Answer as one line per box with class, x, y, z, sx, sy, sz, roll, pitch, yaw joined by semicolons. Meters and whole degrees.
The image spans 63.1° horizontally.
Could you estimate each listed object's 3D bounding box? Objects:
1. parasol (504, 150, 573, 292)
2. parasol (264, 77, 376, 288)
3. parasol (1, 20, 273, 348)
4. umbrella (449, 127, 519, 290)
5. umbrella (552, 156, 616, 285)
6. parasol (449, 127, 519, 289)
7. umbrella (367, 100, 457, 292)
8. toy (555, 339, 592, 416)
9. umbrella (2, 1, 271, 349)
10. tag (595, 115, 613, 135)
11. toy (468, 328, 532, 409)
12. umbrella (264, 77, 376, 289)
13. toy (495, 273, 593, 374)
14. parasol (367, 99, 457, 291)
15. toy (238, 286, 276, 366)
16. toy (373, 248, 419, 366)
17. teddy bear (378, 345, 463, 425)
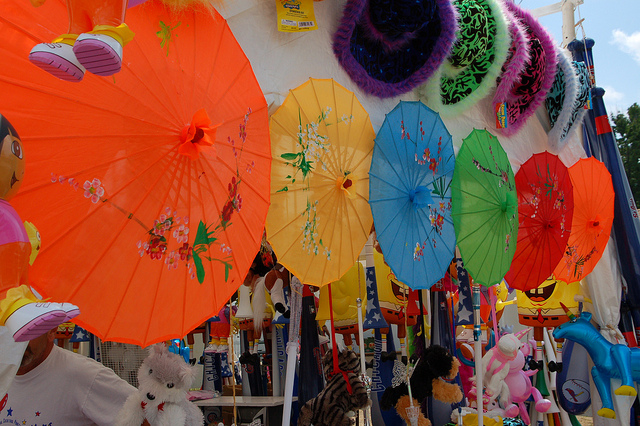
parasol;1.715;0.058;4.045;1.016;1.112;0.332;-7;13;-34
parasol;-0.002;-0.208;2.810;0.377;0.841;0.841;4;-49;37
parasol;-0.740;-0.145;2.423;0.922;1.378;0.851;3;-19;-12
umbrella;1.039;-0.010;3.313;0.489;1.197;0.425;-3;-11;23
umbrella;2.278;0.067;4.547;0.346;1.219;1.055;-1;-4;45
parasol;1.027;-0.031;3.286;0.329;0.921;0.763;-4;-3;35
umbrella;0.561;-0.121;3.235;0.497;1.276;0.539;1;2;-9
toy;2.597;1.557;5.343;0.294;1.035;0.317;-11;21;-1
umbrella;-0.964;-0.086;2.494;0.581;1.416;1.305;2;20;43
tag;2.923;-0.907;5.389;0.145;0.169;0.129;-11;-38;14
toy;1.382;1.175;4.172;0.415;0.794;0.481;-2;5;0
umbrella;0.042;-0.197;2.919;0.447;1.163;1.041;7;5;41
toy;2.141;0.932;4.976;0.950;1.170;0.342;-10;-24;41
parasol;0.563;-0.106;3.181;0.977;1.137;0.222;3;-2;-44
toy;-0.564;0.884;4.520;0.309;0.837;0.410;1;-13;-37
toy;0.639;0.714;4.255;0.363;0.988;0.191;5;2;-5
teddy bear;0.676;1.142;3.460;0.503;0.493;0.303;8;-37;-10
